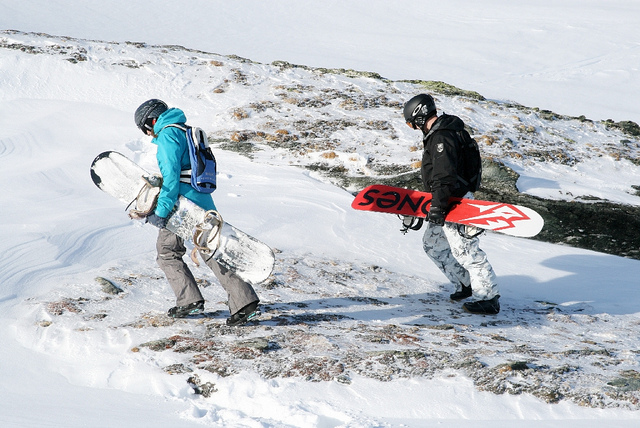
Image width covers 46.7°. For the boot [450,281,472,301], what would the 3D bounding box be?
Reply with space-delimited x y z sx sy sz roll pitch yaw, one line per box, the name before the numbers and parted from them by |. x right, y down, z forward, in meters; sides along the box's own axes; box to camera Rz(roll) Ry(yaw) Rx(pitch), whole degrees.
boot | 2.372 1.397 12.925 0.586 0.340 0.196 -2 7 3

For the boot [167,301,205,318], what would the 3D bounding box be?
boot | -2.037 1.464 11.357 0.703 0.223 0.204 -3 3 0

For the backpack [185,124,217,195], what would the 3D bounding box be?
backpack | -1.978 -0.793 11.379 0.440 0.886 0.661 -13 -13 42

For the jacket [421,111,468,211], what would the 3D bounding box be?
jacket | 2.051 -0.839 12.069 0.780 1.068 1.762 0 20 12

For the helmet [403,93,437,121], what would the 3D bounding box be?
helmet | 1.698 -1.774 12.359 0.659 0.366 0.424 -7 10 19

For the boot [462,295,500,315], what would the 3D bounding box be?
boot | 2.717 1.545 12.530 0.795 0.348 0.225 4 8 5
